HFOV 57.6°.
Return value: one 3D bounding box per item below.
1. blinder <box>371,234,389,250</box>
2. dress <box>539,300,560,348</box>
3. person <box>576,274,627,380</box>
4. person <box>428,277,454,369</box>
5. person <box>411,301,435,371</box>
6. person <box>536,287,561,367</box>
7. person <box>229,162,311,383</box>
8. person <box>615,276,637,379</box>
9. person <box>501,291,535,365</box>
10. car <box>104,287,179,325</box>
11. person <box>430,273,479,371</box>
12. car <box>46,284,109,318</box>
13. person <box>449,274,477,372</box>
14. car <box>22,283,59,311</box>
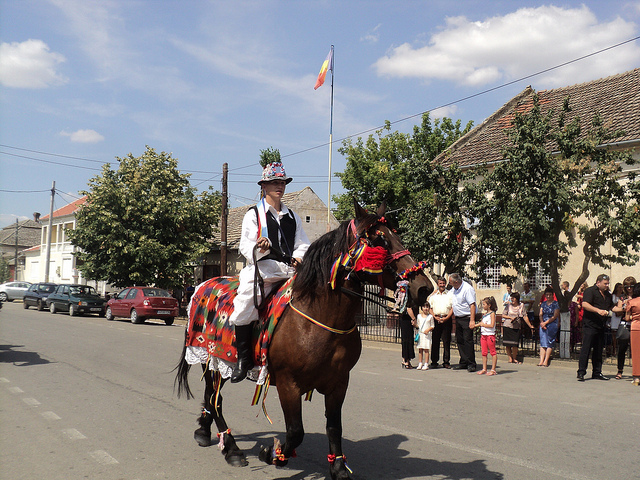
[{"bbox_3d":[0.691,0.016,6.789,0.129,0.183,0.076,-41,-12,1],"label":"blinder"},{"bbox_3d":[6.560,2.394,16.674,0.491,1.339,0.454,-1,-6,23],"label":"dress"},{"bbox_3d":[6.698,2.121,14.298,0.941,2.537,1.030,-1,6,-33],"label":"person"},{"bbox_3d":[3.459,2.359,16.569,0.834,2.637,0.686,0,-1,24],"label":"person"},{"bbox_3d":[2.787,2.571,15.764,0.570,1.782,0.632,0,-4,24],"label":"person"},{"bbox_3d":[6.556,2.460,16.734,0.508,2.213,0.562,2,1,2],"label":"person"},{"bbox_3d":[-0.592,0.367,7.812,1.062,3.049,0.942,-1,4,-33],"label":"person"},{"bbox_3d":[7.700,2.268,14.674,0.533,2.456,0.633,-1,5,-30],"label":"person"},{"bbox_3d":[5.825,2.601,17.395,0.734,2.099,0.893,-1,-6,17],"label":"person"},{"bbox_3d":[-8.789,3.212,28.661,3.708,1.767,1.510,-3,-7,35],"label":"car"},{"bbox_3d":[3.739,2.234,15.938,0.942,2.500,1.384,5,-9,-43],"label":"person"},{"bbox_3d":[-13.503,3.363,32.848,4.367,1.824,1.683,-5,-8,42],"label":"car"},{"bbox_3d":[3.859,2.200,15.652,0.757,2.565,0.564,-3,-7,37],"label":"person"},{"bbox_3d":[-17.824,3.637,37.310,1.709,1.554,3.129,4,-9,-36],"label":"car"}]
